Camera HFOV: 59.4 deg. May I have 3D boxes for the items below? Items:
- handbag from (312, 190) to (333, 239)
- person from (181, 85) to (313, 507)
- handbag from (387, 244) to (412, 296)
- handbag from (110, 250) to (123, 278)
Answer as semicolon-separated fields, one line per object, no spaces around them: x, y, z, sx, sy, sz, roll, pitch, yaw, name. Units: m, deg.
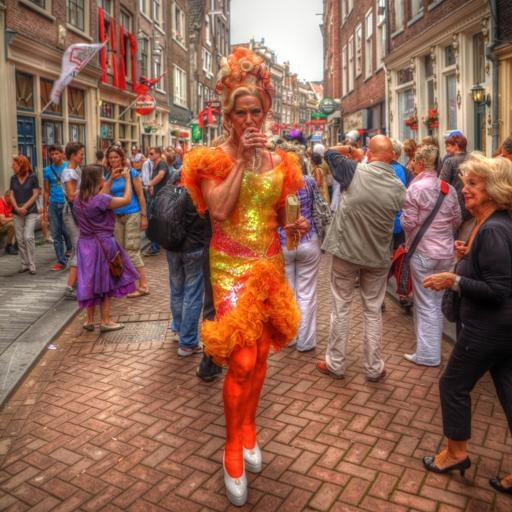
0.630;-0.400;4.323;0.179;0.497;0.374;1;8;7;handbag
-0.040;0.204;2.382;0.512;2.021;0.556;6;10;42;person
1.371;0.145;4.320;0.233;0.473;0.189;6;10;41;handbag
-1.581;0.089;5.036;0.081;0.211;0.222;-1;40;11;handbag
